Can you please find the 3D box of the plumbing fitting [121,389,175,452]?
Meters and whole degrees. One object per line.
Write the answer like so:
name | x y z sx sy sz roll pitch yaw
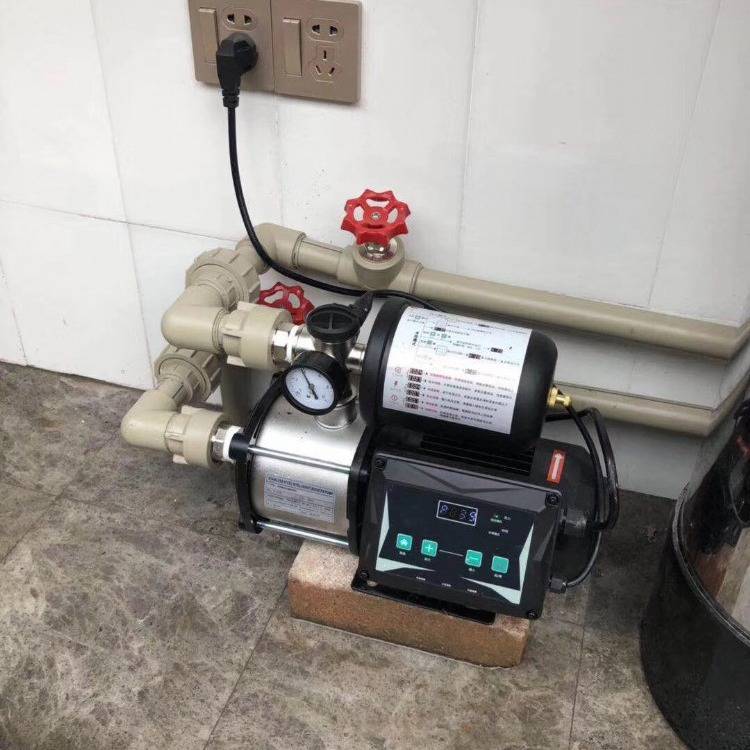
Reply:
plumbing fitting | -0.398 0.085 1.348 0.103 0.050 0.110 5 54 16

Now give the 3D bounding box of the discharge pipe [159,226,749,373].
discharge pipe | 0.123 -0.056 1.435 1.014 0.137 0.406 12 57 14

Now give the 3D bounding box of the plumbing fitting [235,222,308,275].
plumbing fitting | -0.185 -0.262 1.462 0.122 0.099 0.122 19 40 26

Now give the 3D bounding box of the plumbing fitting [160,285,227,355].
plumbing fitting | -0.319 -0.091 1.359 0.105 0.114 0.130 17 40 23

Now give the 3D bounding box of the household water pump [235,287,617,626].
household water pump | 0.079 0.133 1.209 0.563 0.437 0.413 9 52 4
